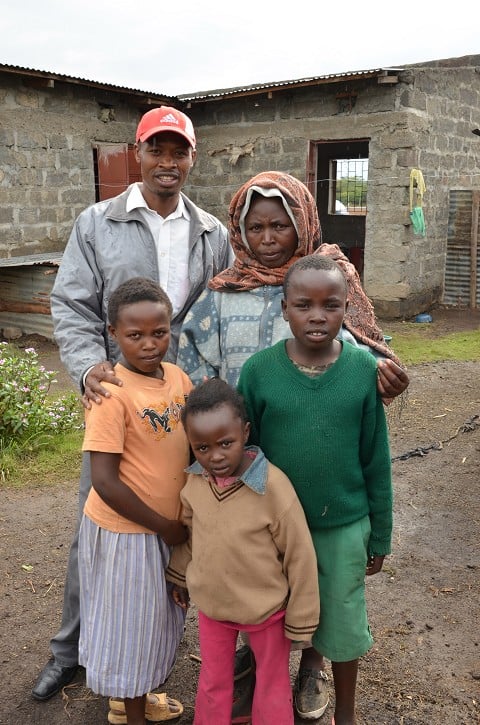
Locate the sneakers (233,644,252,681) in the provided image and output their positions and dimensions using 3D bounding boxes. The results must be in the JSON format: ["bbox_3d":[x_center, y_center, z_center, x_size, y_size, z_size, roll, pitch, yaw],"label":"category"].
[{"bbox_3d":[0.028,1.126,2.320,0.056,0.065,0.170,-5,-5,31],"label":"sneakers"}]

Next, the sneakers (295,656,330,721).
[{"bbox_3d":[0.248,1.123,2.092,0.078,0.087,0.230,-1,-13,2],"label":"sneakers"}]

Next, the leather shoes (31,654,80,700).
[{"bbox_3d":[-0.667,1.141,2.282,0.074,0.091,0.220,19,4,16],"label":"leather shoes"}]

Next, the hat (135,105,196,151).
[{"bbox_3d":[-0.257,-0.834,2.180,0.209,0.163,0.226,-3,9,-18],"label":"hat"}]
